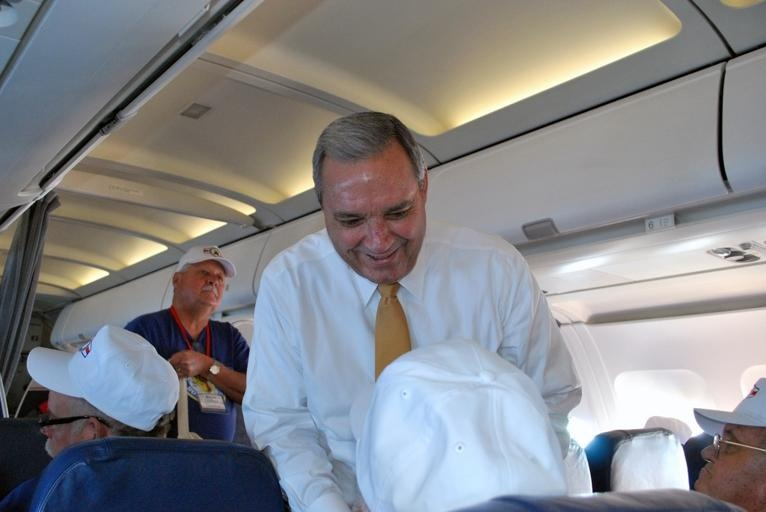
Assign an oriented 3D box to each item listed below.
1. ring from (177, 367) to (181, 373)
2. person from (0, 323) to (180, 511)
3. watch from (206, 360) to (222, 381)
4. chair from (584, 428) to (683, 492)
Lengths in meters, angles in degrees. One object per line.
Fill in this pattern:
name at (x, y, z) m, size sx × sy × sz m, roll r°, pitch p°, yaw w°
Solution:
ring at (-1.442, 0.807, 3.484) m, size 0.027 × 0.011 × 0.036 m, roll 7°, pitch 12°, yaw -9°
person at (-1.563, 0.778, 2.649) m, size 1.123 × 0.735 × 0.580 m, roll 0°, pitch -32°, yaw -45°
watch at (-1.312, 0.896, 3.813) m, size 0.075 × 0.117 × 0.109 m, roll 33°, pitch -46°, yaw -21°
chair at (1.501, 1.195, 2.887) m, size 0.639 × 0.341 × 0.176 m, roll 1°, pitch -17°, yaw -7°
